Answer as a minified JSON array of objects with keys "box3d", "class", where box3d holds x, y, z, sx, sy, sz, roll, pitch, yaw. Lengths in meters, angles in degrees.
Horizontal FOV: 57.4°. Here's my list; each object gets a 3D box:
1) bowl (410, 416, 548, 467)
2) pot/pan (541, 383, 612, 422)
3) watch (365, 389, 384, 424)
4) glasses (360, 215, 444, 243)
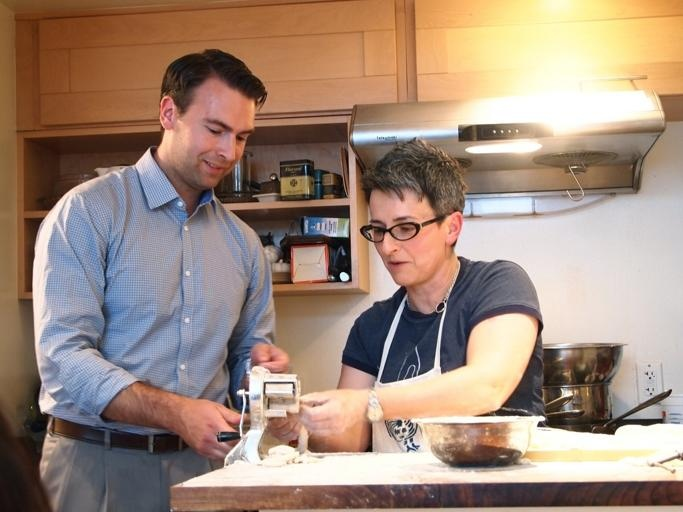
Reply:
[{"box3d":[0.296,0.402,1.333,0.271,0.095,0.268,1,-18,0],"class":"bowl"},{"box3d":[0.921,0.535,2.423,0.218,0.136,0.211,1,-13,-3],"class":"pot/pan"},{"box3d":[0.074,0.347,1.425,0.045,0.059,0.065,-2,-5,-9],"class":"watch"},{"box3d":[0.181,-0.090,1.766,0.123,0.032,0.121,-9,11,39],"class":"glasses"}]
